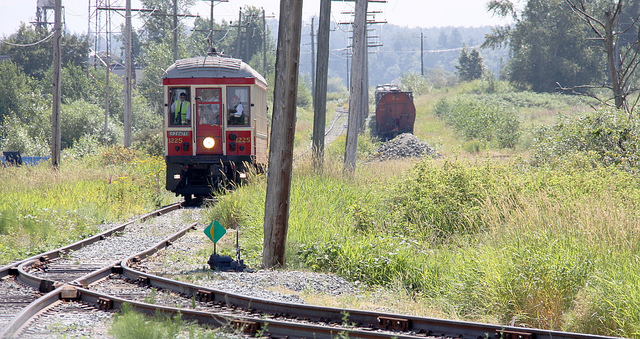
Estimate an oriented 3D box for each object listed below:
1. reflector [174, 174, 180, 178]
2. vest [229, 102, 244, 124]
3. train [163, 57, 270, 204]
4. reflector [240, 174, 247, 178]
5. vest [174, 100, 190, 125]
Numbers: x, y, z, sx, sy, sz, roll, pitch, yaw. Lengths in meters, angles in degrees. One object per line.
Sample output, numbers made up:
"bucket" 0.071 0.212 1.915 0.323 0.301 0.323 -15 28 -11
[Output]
"reflector" -9.900 0.500 51.639 0.354 0.216 0.022 0 6 6
"vest" -5.792 -3.676 51.118 0.309 1.193 1.227 6 5 -17
"train" -7.244 -2.846 51.377 6.735 9.362 2.470 -2 7 -13
"reflector" -5.248 0.507 51.028 0.690 0.259 0.242 6 9 43
"vest" -9.465 -3.843 51.099 1.041 1.607 0.094 0 6 3
